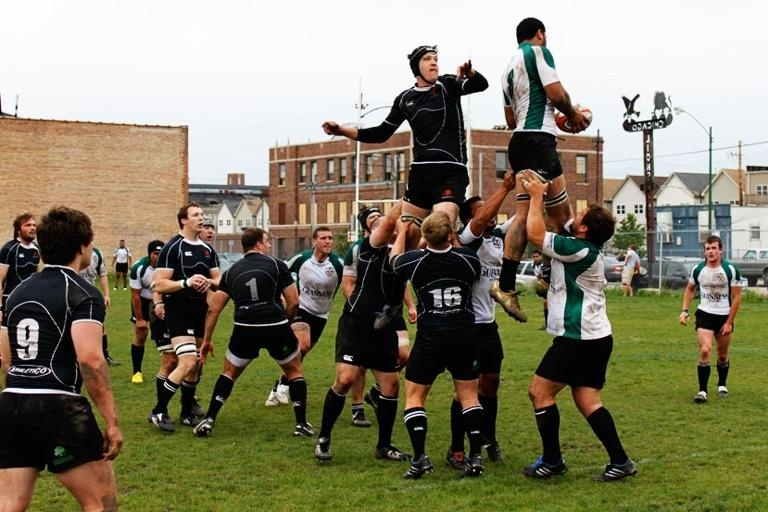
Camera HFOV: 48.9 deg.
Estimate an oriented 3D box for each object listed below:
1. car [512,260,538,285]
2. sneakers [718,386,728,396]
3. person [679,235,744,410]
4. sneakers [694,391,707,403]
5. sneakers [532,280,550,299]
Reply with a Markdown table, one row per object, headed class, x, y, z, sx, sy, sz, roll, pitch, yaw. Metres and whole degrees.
| class | x | y | z | sx | sy | sz | roll | pitch | yaw |
| --- | --- | --- | --- | --- | --- | --- | --- | --- | --- |
| car | 6.044 | 0.582 | 34.597 | 1.393 | 1.162 | 2.250 | -2 | -4 | 6 |
| sneakers | 5.904 | 2.342 | 14.578 | 0.130 | 0.068 | 0.202 | -13 | -3 | 0 |
| person | 5.750 | 1.025 | 14.731 | 0.919 | 2.713 | 1.157 | 2 | 7 | 20 |
| sneakers | 5.356 | 2.362 | 14.138 | 0.115 | 0.130 | 0.326 | -2 | -2 | 21 |
| sneakers | 2.246 | 0.455 | 11.860 | 0.259 | 0.271 | 0.319 | 2 | -2 | 12 |
